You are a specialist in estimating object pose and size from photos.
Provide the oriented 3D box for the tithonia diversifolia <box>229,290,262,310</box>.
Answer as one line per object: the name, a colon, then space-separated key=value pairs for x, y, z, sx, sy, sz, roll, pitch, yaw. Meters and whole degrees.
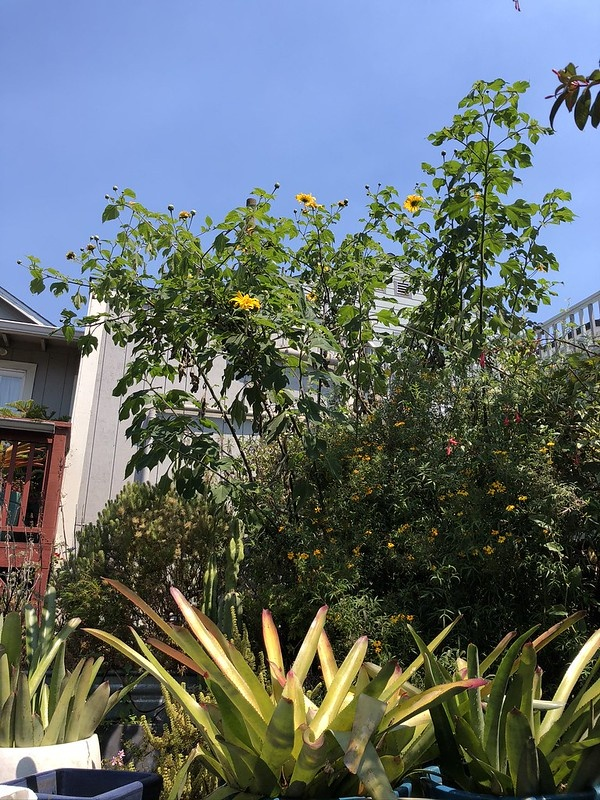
tithonia diversifolia: x=-0.251 y=-0.437 z=2.942 sx=0.105 sy=0.039 sz=0.101 roll=12 pitch=28 yaw=-24

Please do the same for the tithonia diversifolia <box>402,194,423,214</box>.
tithonia diversifolia: x=0.614 y=-1.052 z=3.476 sx=0.098 sy=0.102 sz=0.107 roll=-1 pitch=-14 yaw=10

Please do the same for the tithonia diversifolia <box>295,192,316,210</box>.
tithonia diversifolia: x=0.028 y=-1.032 z=3.342 sx=0.118 sy=0.057 sz=0.068 roll=3 pitch=-13 yaw=-9
